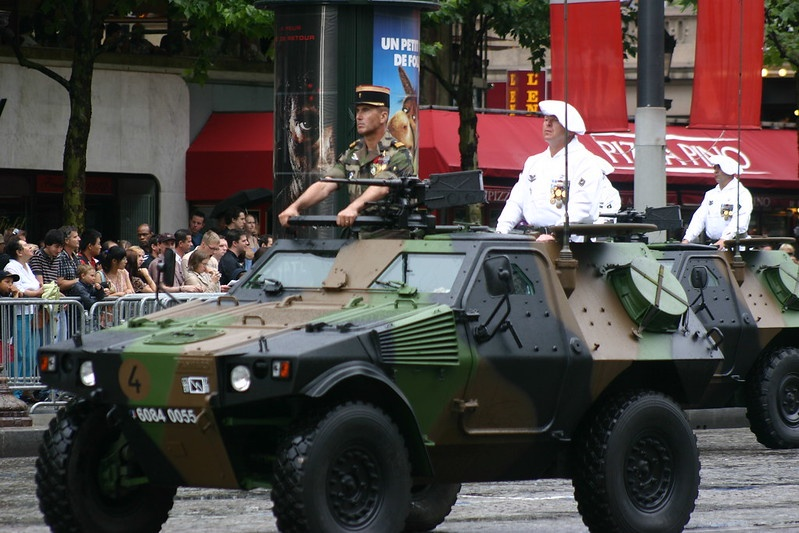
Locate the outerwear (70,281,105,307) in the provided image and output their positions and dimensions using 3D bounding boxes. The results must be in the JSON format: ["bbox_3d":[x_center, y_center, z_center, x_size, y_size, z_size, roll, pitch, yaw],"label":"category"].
[{"bbox_3d":[-4.467,0.395,26.143,0.396,0.486,0.312,-15,-9,35],"label":"outerwear"}]

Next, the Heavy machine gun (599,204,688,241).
[{"bbox_3d":[3.336,-0.664,24.671,0.804,0.337,0.634,0,-3,-16],"label":"Heavy machine gun"}]

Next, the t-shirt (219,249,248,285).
[{"bbox_3d":[-2.577,-0.011,27.694,0.407,0.705,0.811,1,3,-6],"label":"t-shirt"}]

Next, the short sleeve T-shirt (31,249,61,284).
[{"bbox_3d":[-5.206,-0.007,26.595,0.416,0.503,0.228,0,-6,-44],"label":"short sleeve T-shirt"}]

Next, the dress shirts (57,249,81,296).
[{"bbox_3d":[-4.874,0.087,26.573,0.241,0.775,0.496,-8,-11,34],"label":"dress shirts"}]

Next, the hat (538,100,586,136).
[{"bbox_3d":[2.008,-1.867,22.990,0.545,0.444,1.641,0,8,5],"label":"hat"}]

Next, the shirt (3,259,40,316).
[{"bbox_3d":[-5.427,0.300,25.930,0.422,0.893,0.700,-3,-1,11],"label":"shirt"}]

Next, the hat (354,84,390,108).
[{"bbox_3d":[-0.382,-2.075,22.615,0.399,0.258,0.578,-1,7,-3],"label":"hat"}]

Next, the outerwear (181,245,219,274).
[{"bbox_3d":[-3.114,-0.255,28.074,0.591,0.591,0.338,1,-7,-14],"label":"outerwear"}]

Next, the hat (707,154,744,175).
[{"bbox_3d":[5.158,-1.618,29.190,0.616,0.206,0.629,38,12,12],"label":"hat"}]

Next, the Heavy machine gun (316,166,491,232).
[{"bbox_3d":[0.002,-0.827,21.691,1.862,0.917,0.521,-2,25,-11],"label":"Heavy machine gun"}]

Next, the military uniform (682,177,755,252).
[{"bbox_3d":[5.000,-0.810,28.772,0.938,1.140,0.841,16,-10,-38],"label":"military uniform"}]
